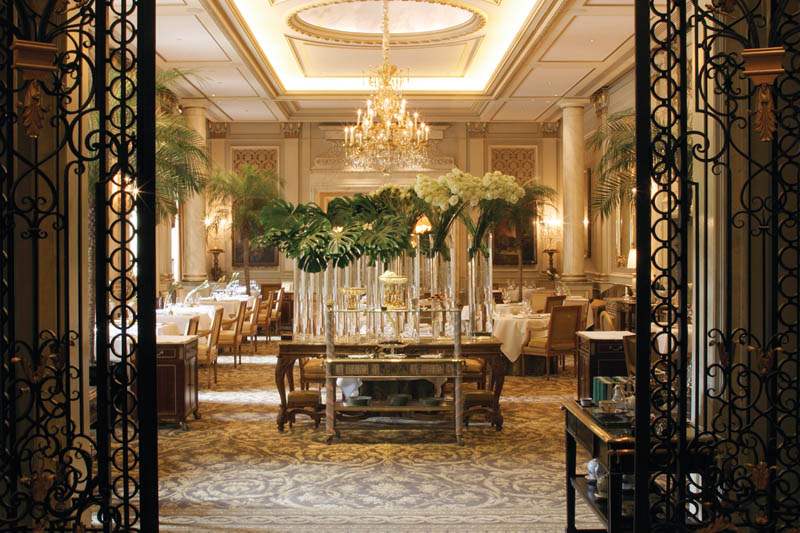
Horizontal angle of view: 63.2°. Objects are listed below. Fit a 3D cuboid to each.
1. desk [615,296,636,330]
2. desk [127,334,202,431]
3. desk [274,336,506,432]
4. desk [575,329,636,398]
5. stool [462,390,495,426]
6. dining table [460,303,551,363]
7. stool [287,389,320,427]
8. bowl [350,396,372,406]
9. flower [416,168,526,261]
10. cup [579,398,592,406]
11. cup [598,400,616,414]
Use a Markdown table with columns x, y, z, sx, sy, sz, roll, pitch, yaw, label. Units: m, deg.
| x | y | z | sx | sy | sz | roll | pitch | yaw | label |
| --- | --- | --- | --- | --- | --- | --- | --- | --- | --- |
| 3.845 | 0.801 | 11.127 | 0.207 | 0.592 | 0.831 | 0 | 3 | 10 | desk |
| -2.519 | 1.287 | 7.368 | 0.403 | 0.986 | 0.503 | 0 | 3 | -6 | desk |
| -0.106 | 1.275 | 7.499 | 2.529 | 1.038 | 1.187 | 0 | 3 | 2 | desk |
| 2.476 | 1.282 | 7.882 | 0.571 | 0.901 | 0.749 | 2 | -5 | -5 | desk |
| 0.877 | 1.589 | 7.350 | 0.502 | 0.395 | 0.449 | -7 | -14 | 22 | stool |
| 1.907 | 0.938 | 10.454 | 1.115 | 0.720 | 1.248 | 0 | -1 | 10 | dining table |
| -1.055 | 1.578 | 7.346 | 0.377 | 0.333 | 0.385 | 0 | -2 | -2 | stool |
| -0.431 | 1.438 | 7.027 | 0.221 | 0.055 | 0.226 | 0 | 3 | 0 | bowl |
| 0.739 | -0.542 | 7.210 | 1.115 | 0.807 | 1.025 | 0 | 2 | 30 | flower |
| 1.317 | 0.954 | 4.604 | 0.082 | 0.055 | 0.049 | 0 | -5 | 2 | cup |
| 1.397 | 0.935 | 4.374 | 0.084 | 0.052 | 0.083 | 0 | -5 | 0 | cup |
